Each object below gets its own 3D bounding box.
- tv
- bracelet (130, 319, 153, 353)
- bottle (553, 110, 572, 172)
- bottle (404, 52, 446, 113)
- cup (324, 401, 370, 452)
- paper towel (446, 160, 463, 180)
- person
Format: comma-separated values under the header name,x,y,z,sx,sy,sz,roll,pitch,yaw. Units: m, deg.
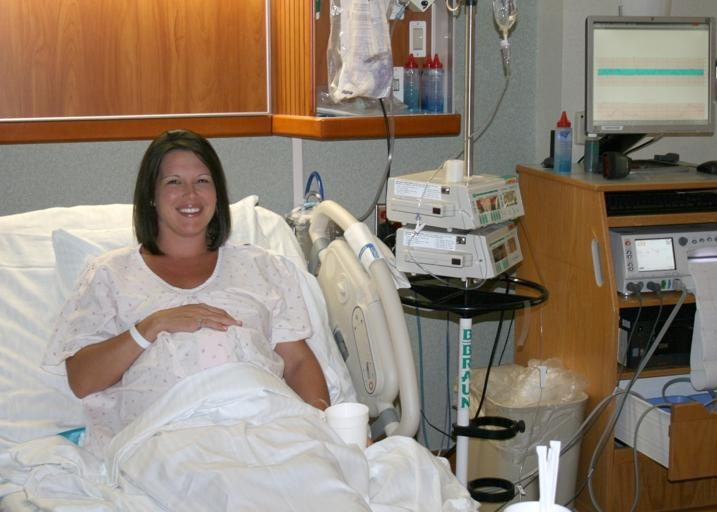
name,x,y,z,sx,sy,sz,roll,pitch,yaw
tv,1.214,-0.770,2.850,0.437,0.416,0.063,-1,4,-6
bracelet,-0.681,0.242,2.114,0.025,0.068,0.067,-29,52,-10
bottle,0.877,-0.483,2.898,0.067,0.252,0.079,0,9,12
bottle,0.279,-0.736,2.834,0.194,0.314,0.105,-3,12,-10
cup,-0.031,0.485,1.991,0.111,0.138,0.124,-5,1,-9
paper towel,0.346,-0.310,2.430,0.064,0.071,0.061,5,11,12
person,-0.562,0.167,2.306,0.882,1.283,0.788,-5,-13,-7
